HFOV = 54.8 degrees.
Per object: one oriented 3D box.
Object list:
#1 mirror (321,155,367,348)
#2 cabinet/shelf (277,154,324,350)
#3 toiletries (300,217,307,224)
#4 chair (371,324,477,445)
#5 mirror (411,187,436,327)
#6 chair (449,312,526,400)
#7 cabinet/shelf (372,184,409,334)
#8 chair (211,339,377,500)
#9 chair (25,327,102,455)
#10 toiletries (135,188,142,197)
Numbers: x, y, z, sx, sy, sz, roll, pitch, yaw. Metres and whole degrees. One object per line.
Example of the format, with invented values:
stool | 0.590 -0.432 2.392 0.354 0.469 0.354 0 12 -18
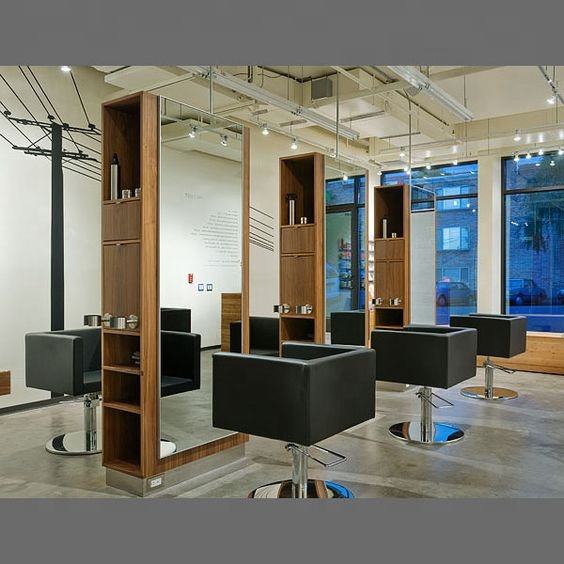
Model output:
mirror | 0.711 -0.318 5.556 0.329 1.710 0.701 1 1 39
cabinet/shelf | 0.195 -0.335 5.345 0.448 1.849 0.342 0 1 -1
toiletries | 0.217 -0.609 5.392 0.069 0.056 0.062 0 -2 -22
chair | 1.246 0.875 4.818 0.788 0.926 0.904 1 1 31
mirror | 1.740 -0.397 6.928 0.494 2.129 0.036 -6 10 -40
chair | 2.443 0.876 6.395 0.855 0.858 0.813 8 -5 -25
cabinet/shelf | 1.362 -0.354 6.815 0.479 1.737 0.375 0 1 11
chair | 0.076 0.823 3.192 0.852 0.776 0.886 -15 -27 26
chair | -1.606 0.887 4.560 0.729 0.873 0.787 -1 -2 31
toiletries | -0.886 -0.549 3.363 0.018 0.062 0.108 0 1 -24
